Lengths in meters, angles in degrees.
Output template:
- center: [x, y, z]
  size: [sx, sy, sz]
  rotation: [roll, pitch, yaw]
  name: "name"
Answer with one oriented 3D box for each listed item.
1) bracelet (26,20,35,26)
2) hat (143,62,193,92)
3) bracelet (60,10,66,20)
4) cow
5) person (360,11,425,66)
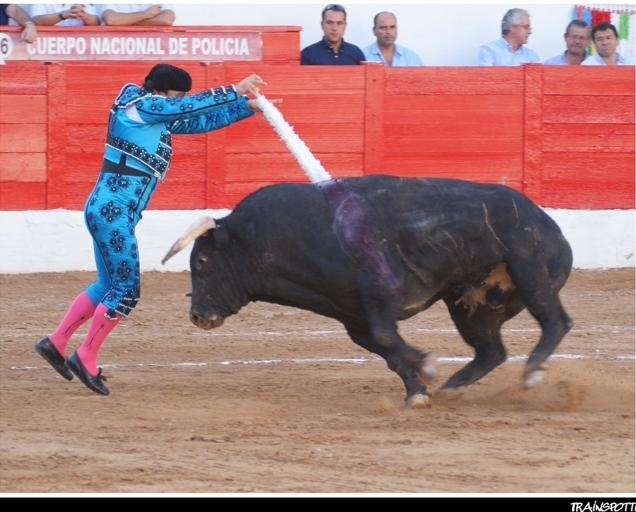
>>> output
- center: [-2.568, -2.058, 10.651]
  size: [0.020, 0.047, 0.059]
  rotation: [-18, -38, 42]
  name: "bracelet"
- center: [-0.871, -1.035, 7.007]
  size: [0.287, 0.104, 0.178]
  rotation: [0, -1, 1]
  name: "hat"
- center: [-2.304, -2.145, 10.770]
  size: [0.064, 0.082, 0.057]
  rotation: [-2, 16, -10]
  name: "bracelet"
- center: [0.320, 0.172, 6.888]
  size: [2.376, 0.972, 0.615]
  rotation: [-2, -22, -18]
  name: "cow"
- center: [0.609, -2.022, 11.430]
  size: [0.954, 0.437, 0.383]
  rotation: [-5, 11, -29]
  name: "person"
